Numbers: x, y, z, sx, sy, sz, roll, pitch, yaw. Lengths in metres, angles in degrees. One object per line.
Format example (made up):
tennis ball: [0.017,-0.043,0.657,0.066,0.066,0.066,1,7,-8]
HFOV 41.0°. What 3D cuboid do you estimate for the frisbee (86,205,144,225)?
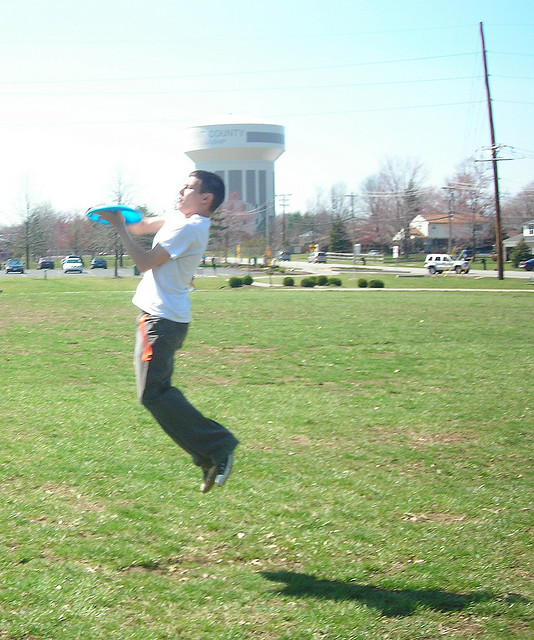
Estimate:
frisbee: [-0.938,-0.656,4.424,0.326,0.119,0.405,1,8,-8]

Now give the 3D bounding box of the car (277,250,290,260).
car: [2.008,-7.776,85.709,1.271,0.697,1.788,-4,11,-23]

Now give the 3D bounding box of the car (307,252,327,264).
car: [5.671,-6.946,78.695,1.689,0.915,2.363,-3,9,-22]

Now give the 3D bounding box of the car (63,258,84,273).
car: [-16.997,-4.877,62.956,2.337,1.002,3.996,-1,3,-15]

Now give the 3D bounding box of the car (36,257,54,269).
car: [-21.450,-5.665,69.823,1.466,0.747,2.640,-1,5,-23]

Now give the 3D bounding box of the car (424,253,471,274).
car: [13.528,-4.527,56.828,4.822,1.395,1.980,-1,6,15]

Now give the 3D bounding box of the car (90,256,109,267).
car: [-17.044,-5.900,72.339,1.299,0.672,1.750,-3,12,-19]

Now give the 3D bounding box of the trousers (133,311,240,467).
trousers: [-0.469,0.426,4.339,0.593,0.933,0.208,2,12,-2]
